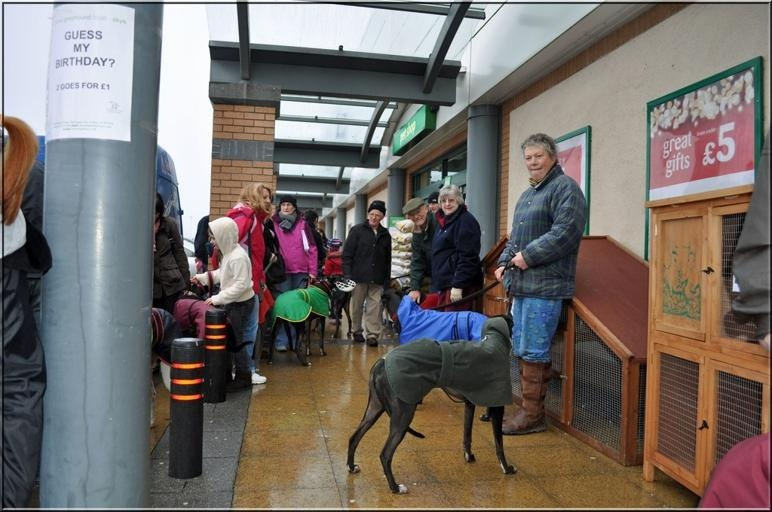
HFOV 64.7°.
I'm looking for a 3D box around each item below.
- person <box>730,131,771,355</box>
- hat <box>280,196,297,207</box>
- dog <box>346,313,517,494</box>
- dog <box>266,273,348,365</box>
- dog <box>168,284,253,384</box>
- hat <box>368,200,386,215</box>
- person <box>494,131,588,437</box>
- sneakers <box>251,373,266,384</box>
[{"bbox_3d":[2.261,-0.093,3.741,0.196,1.268,0.351,4,9,17],"label":"person"},{"bbox_3d":[-1.406,-0.798,8.728,0.207,0.132,0.206,2,-15,3],"label":"hat"},{"bbox_3d":[0.477,1.112,4.761,1.510,1.176,0.595,1,1,-27],"label":"dog"},{"bbox_3d":[-1.071,0.814,8.169,0.572,1.064,1.600,0,-2,23],"label":"dog"},{"bbox_3d":[-1.763,0.971,6.463,0.514,0.773,0.738,-8,-2,23],"label":"dog"},{"bbox_3d":[-0.146,-0.765,9.034,0.231,0.224,0.306,12,-4,6],"label":"hat"},{"bbox_3d":[1.374,0.239,5.646,0.691,2.702,0.601,0,8,-9],"label":"person"},{"bbox_3d":[-1.448,1.391,6.872,0.177,0.083,0.072,4,12,-14],"label":"sneakers"}]
